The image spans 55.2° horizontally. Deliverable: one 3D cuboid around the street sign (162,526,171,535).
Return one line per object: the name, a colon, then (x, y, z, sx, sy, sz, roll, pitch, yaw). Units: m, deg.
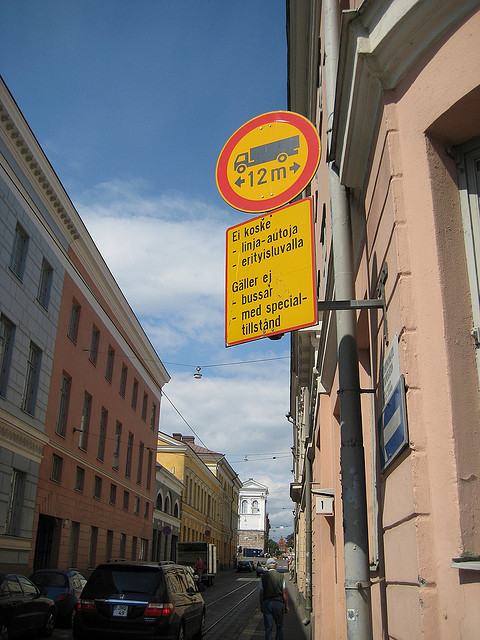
street sign: (-5.980, 16.867, 36.789, 0.503, 0.590, 1.946, 3, -30, -11)

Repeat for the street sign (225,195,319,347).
street sign: (0.202, -0.366, 3.532, 0.719, 0.127, 1.226, -15, -43, -10)

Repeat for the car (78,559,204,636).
car: (-1.903, 5.734, 9.932, 1.157, 1.248, 2.699, -2, -19, 5)

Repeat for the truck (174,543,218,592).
truck: (-3.535, 20.622, 38.513, 2.060, 3.669, 5.461, -5, -26, 1)

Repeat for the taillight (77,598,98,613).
taillight: (-2.964, 5.498, 8.857, 0.503, 0.249, 0.117, -19, -28, 27)
